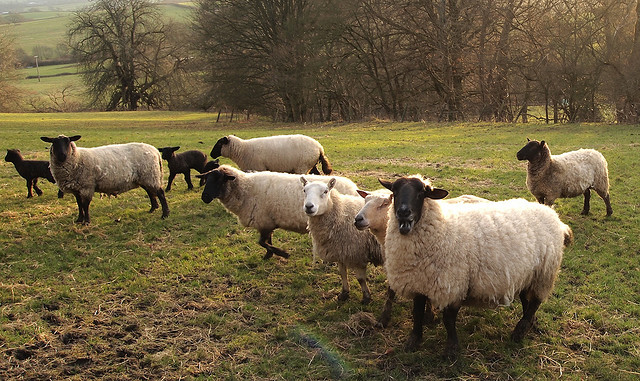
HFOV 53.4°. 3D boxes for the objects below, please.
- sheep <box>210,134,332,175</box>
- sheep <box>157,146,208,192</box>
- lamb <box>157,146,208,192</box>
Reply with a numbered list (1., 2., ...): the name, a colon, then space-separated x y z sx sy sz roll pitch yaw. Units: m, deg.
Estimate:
1. sheep: -2.581 -2.008 35.219 7.269 3.017 2.248 2 0 1
2. sheep: -7.508 -1.279 35.177 1.527 2.164 3.621 -1 5 33
3. lamb: -6.450 -1.408 35.144 3.763 2.209 1.674 1 -3 -43
